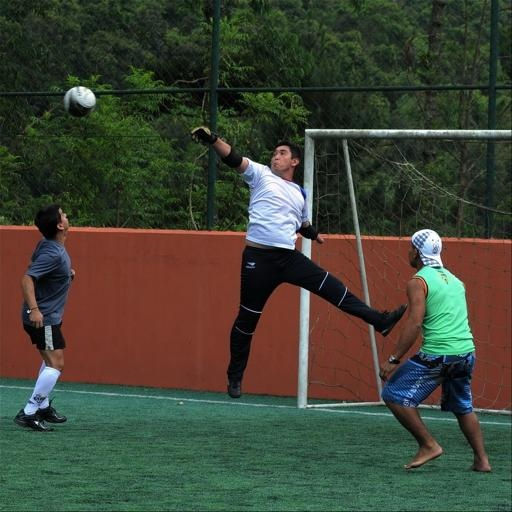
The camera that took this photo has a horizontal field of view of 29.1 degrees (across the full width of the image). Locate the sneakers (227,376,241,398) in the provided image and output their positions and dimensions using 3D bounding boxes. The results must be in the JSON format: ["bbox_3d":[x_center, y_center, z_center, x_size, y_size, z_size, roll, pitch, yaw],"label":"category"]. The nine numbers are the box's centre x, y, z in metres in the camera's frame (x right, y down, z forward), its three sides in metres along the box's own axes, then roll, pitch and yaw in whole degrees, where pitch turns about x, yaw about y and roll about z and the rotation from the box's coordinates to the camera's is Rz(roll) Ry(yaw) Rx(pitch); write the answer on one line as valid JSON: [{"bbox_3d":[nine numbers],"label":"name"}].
[{"bbox_3d":[-0.178,1.075,8.087,0.089,0.164,0.060,-3,-2,1],"label":"sneakers"}]

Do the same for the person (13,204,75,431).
[{"bbox_3d":[-1.684,0.484,7.819,0.442,1.809,0.456,0,2,-12],"label":"person"}]

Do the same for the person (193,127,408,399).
[{"bbox_3d":[0.218,0.086,7.938,1.517,2.152,0.730,0,2,-12],"label":"person"}]

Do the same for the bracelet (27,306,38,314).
[{"bbox_3d":[-1.729,0.406,7.646,0.060,0.030,0.073,1,10,9],"label":"bracelet"}]

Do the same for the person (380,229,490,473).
[{"bbox_3d":[1.261,0.654,6.885,0.775,1.674,0.408,1,2,5],"label":"person"}]

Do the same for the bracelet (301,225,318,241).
[{"bbox_3d":[0.460,-0.216,8.578,0.072,0.093,0.164,-32,2,-1],"label":"bracelet"}]

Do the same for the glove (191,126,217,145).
[{"bbox_3d":[-0.391,-0.942,7.533,0.192,0.140,0.431,1,2,-3],"label":"glove"}]

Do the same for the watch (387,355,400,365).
[{"bbox_3d":[0.959,0.725,6.844,0.057,0.066,0.066,18,13,23],"label":"watch"}]

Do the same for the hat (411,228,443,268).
[{"bbox_3d":[1.223,-0.073,6.973,0.172,0.289,0.158,-15,-19,-19],"label":"hat"}]

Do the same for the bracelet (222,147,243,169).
[{"bbox_3d":[-0.174,-0.783,7.759,0.115,0.058,0.157,39,11,-19],"label":"bracelet"}]

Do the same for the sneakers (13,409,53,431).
[{"bbox_3d":[-1.750,1.292,7.722,0.296,0.159,0.133,0,2,-15],"label":"sneakers"}]
